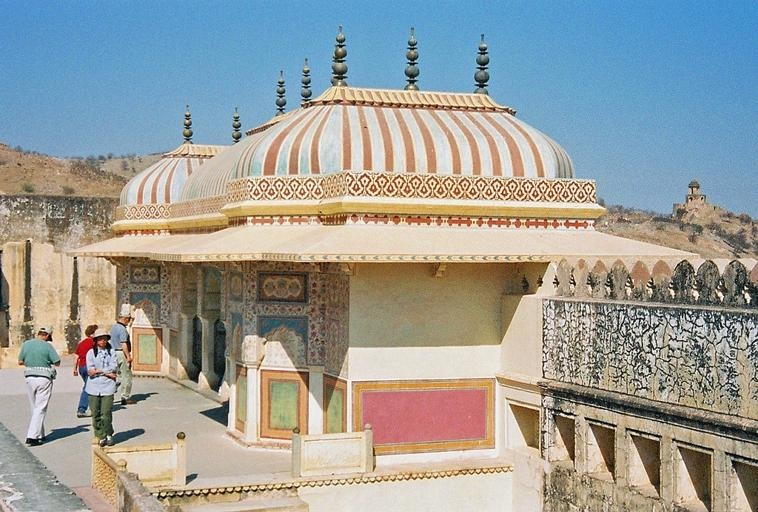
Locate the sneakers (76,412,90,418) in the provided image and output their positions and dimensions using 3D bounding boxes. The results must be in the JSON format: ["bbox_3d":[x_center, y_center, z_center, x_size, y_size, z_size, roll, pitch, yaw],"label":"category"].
[{"bbox_3d":[-5.713,3.049,24.598,0.267,0.116,0.090,-3,4,-29],"label":"sneakers"}]

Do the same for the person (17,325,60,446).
[{"bbox_3d":[-6.119,2.293,22.892,0.765,2.087,1.211,-8,7,-16],"label":"person"}]

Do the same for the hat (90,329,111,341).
[{"bbox_3d":[-5.111,1.431,23.253,0.377,0.189,0.522,-1,-20,-13],"label":"hat"}]

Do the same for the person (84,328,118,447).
[{"bbox_3d":[-4.822,2.256,22.116,0.612,1.968,0.637,2,5,41],"label":"person"}]

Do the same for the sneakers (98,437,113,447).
[{"bbox_3d":[-4.799,3.257,22.337,0.185,0.261,0.568,1,-11,-16],"label":"sneakers"}]

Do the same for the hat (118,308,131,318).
[{"bbox_3d":[-5.027,1.116,25.214,0.268,0.189,0.191,-2,8,-28],"label":"hat"}]

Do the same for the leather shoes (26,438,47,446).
[{"bbox_3d":[-6.162,3.280,22.871,0.351,0.157,0.125,-4,8,-39],"label":"leather shoes"}]
